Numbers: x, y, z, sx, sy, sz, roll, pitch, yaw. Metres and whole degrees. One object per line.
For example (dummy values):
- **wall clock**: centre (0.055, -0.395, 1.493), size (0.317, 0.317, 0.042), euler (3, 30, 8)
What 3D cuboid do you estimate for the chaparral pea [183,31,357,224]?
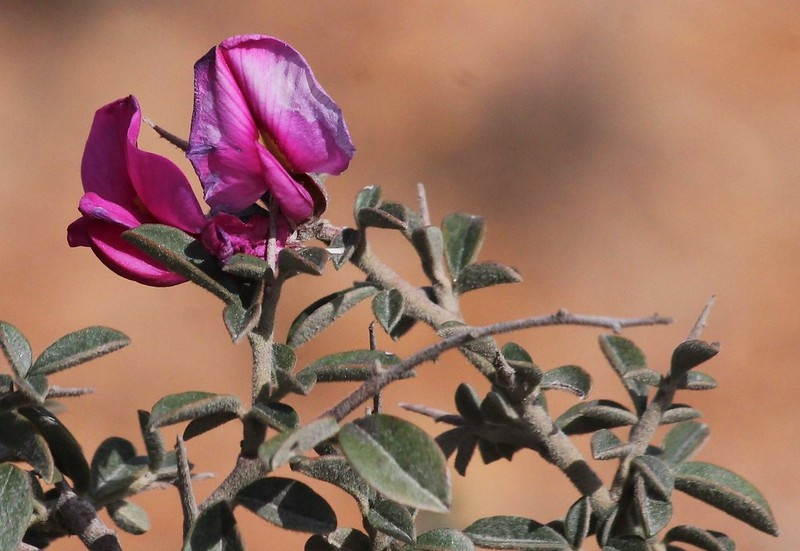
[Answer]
- **chaparral pea**: centre (-0.111, -0.122, 1.107), size (0.146, 0.041, 0.148), euler (13, -69, -5)
